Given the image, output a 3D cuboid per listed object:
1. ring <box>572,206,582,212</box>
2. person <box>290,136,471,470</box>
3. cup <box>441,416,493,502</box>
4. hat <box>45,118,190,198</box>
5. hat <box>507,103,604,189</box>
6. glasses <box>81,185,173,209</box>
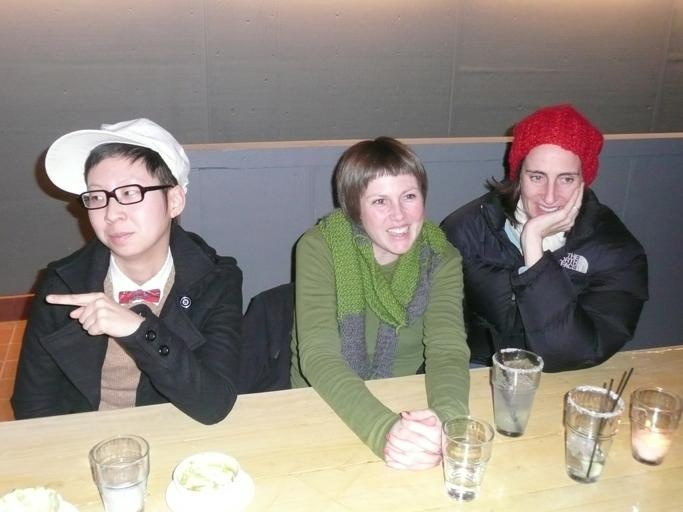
[{"bbox_3d":[0.949,-0.192,2.204,0.026,0.006,0.025,-23,-6,-2],"label":"ring"},{"bbox_3d":[0.149,0.146,1.853,0.616,1.061,0.297,0,-15,-9],"label":"person"},{"bbox_3d":[0.315,0.542,1.400,0.121,0.153,0.113,1,1,0],"label":"cup"},{"bbox_3d":[-0.736,-0.363,1.887,0.433,0.269,0.216,13,50,-7],"label":"hat"},{"bbox_3d":[0.856,-0.453,2.336,0.329,0.349,0.390,6,5,2],"label":"hat"},{"bbox_3d":[-0.704,-0.205,1.791,0.306,0.080,0.138,-6,20,-15],"label":"glasses"}]
